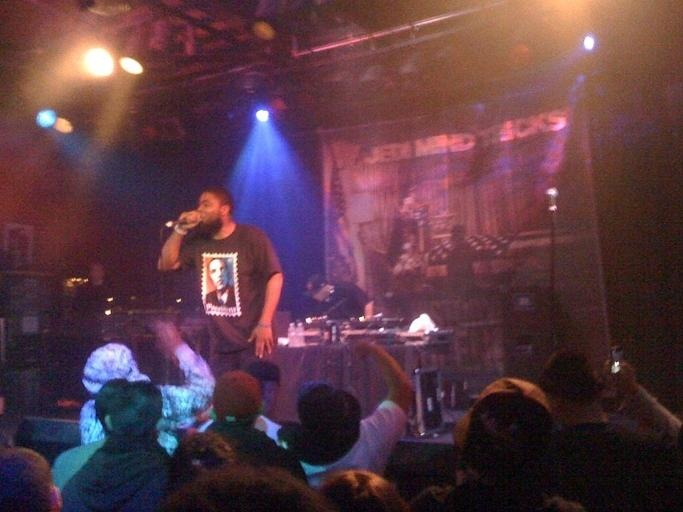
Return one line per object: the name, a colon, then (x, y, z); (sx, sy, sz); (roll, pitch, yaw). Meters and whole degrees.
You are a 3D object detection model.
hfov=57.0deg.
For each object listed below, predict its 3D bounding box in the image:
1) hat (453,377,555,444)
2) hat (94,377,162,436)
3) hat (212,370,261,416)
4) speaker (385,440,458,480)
hat: (0.866, 0.817, 3.374); (0.496, 0.316, 0.730); (-5, -12, 17)
hat: (-1.117, 0.823, 3.417); (0.351, 0.286, 0.279); (-3, -15, -6)
hat: (-0.585, 0.778, 3.508); (0.210, 0.148, 0.269); (1, 15, -6)
speaker: (0.597, 1.532, 4.730); (0.342, 0.085, 0.372); (-3, -3, 32)
